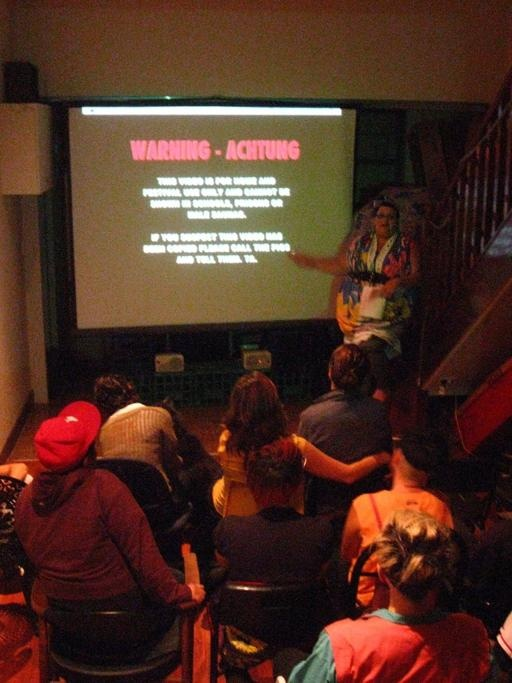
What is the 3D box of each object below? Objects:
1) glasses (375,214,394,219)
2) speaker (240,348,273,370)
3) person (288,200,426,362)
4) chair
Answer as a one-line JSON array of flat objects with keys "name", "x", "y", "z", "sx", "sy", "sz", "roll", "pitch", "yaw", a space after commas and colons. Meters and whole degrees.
[{"name": "glasses", "x": 0.897, "y": -0.869, "z": 4.540, "sx": 0.120, "sy": 0.047, "sz": 0.034, "roll": -2, "pitch": 9, "yaw": 14}, {"name": "speaker", "x": 0.001, "y": 0.145, "z": 5.069, "sx": 0.179, "sy": 0.098, "sz": 0.169, "roll": -1, "pitch": 10, "yaw": -8}, {"name": "person", "x": 0.823, "y": -0.445, "z": 4.701, "sx": 0.561, "sy": 1.108, "sz": 0.682, "roll": -6, "pitch": 9, "yaw": -6}, {"name": "chair", "x": -0.037, "y": 0.630, "z": 1.813, "sx": 0.846, "sy": 0.718, "sz": 0.532, "roll": -1, "pitch": 15, "yaw": -6}]
